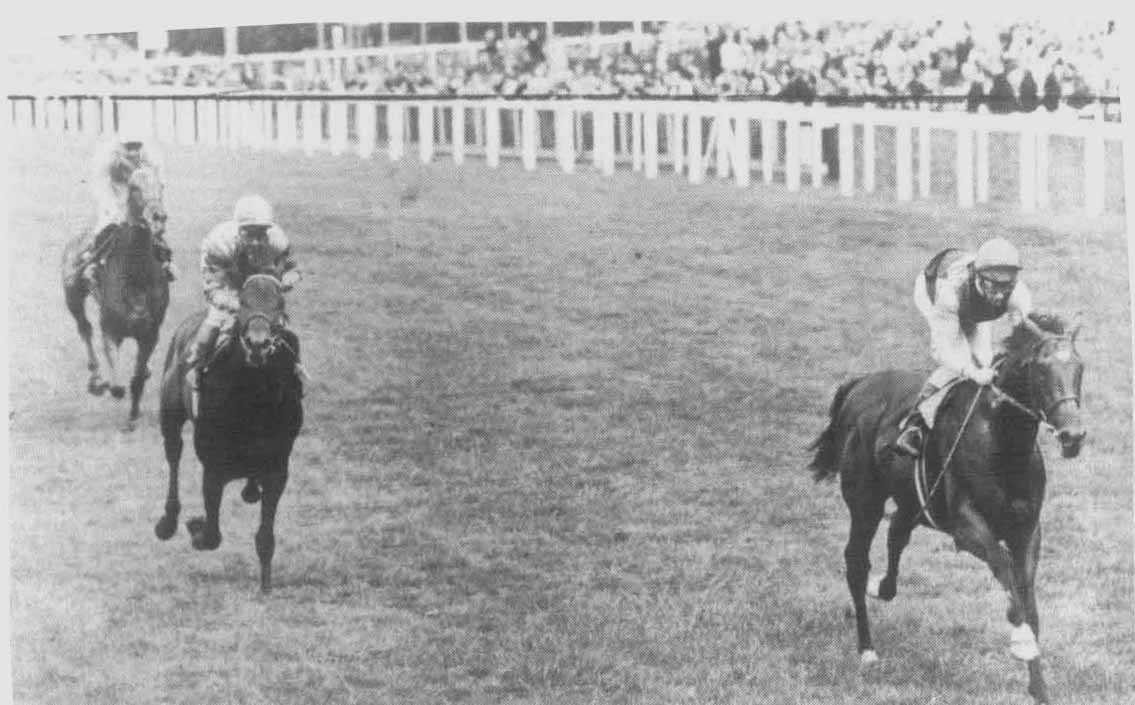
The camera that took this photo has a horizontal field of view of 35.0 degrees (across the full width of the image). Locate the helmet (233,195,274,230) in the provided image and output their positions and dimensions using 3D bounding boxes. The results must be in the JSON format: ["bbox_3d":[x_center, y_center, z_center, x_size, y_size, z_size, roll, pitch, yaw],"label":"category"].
[{"bbox_3d":[-3.400,-1.500,19.557,0.280,0.255,0.420,15,10,-35],"label":"helmet"}]

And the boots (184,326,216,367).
[{"bbox_3d":[-3.875,-0.064,19.135,0.247,0.498,0.160,20,-16,31],"label":"boots"}]

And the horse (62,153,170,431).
[{"bbox_3d":[-4.906,-0.507,19.542,0.572,2.641,1.663,9,2,-8],"label":"horse"}]
